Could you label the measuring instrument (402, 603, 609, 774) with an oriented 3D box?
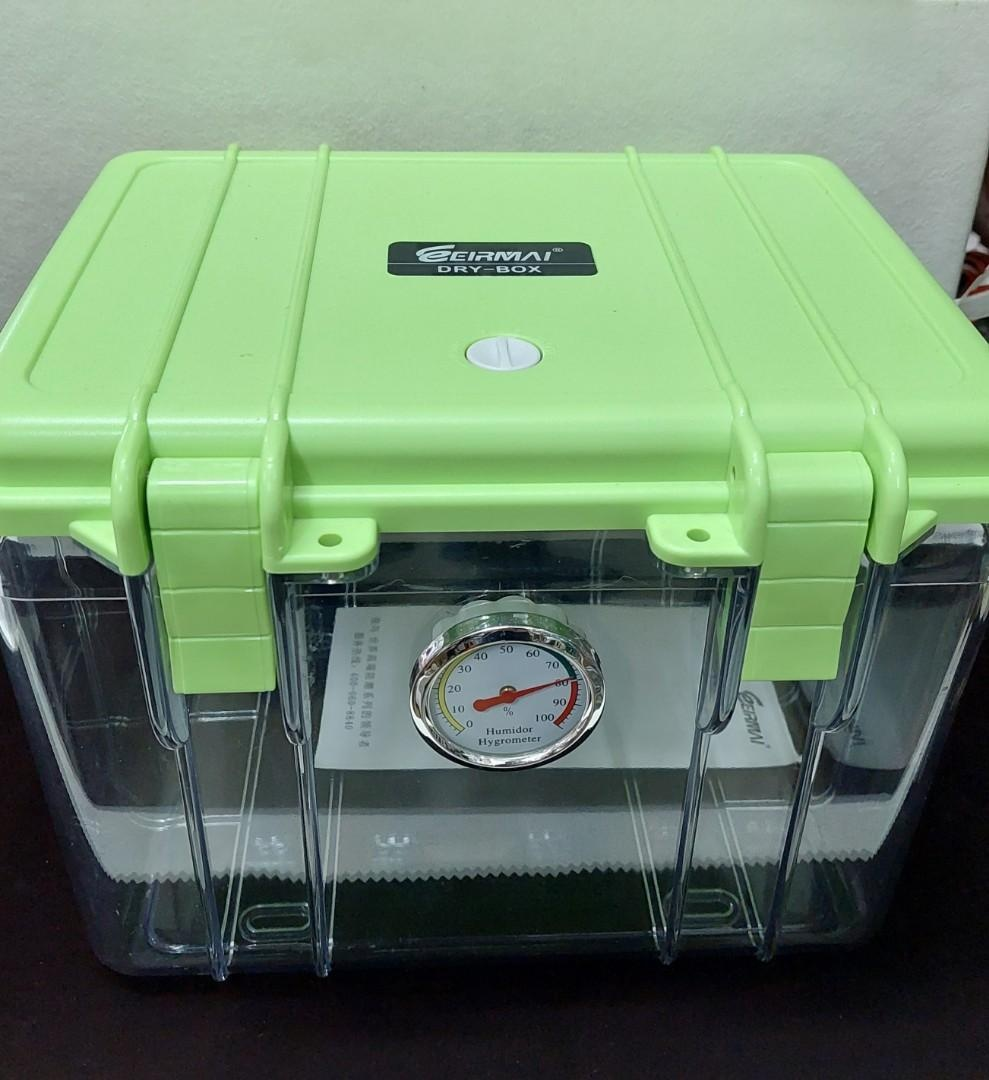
[{"bbox_3d":[0.004,0.052,0.456,0.081,0.073,0.024,-4,36,-3],"label":"measuring instrument"}]
